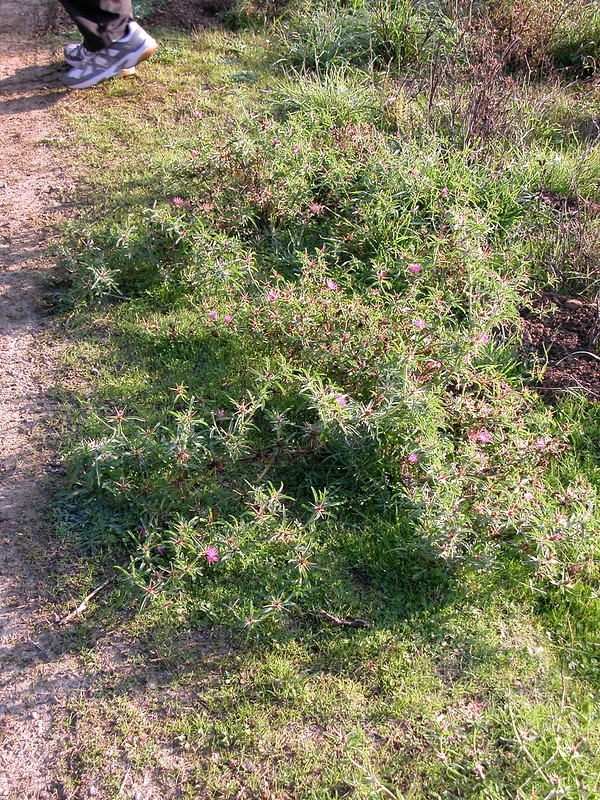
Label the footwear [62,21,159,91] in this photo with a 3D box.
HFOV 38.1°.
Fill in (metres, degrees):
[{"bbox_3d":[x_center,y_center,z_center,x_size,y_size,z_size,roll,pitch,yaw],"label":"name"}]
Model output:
[{"bbox_3d":[-1.428,-2.529,6.452,0.866,0.338,0.288,-15,14,27],"label":"footwear"}]
